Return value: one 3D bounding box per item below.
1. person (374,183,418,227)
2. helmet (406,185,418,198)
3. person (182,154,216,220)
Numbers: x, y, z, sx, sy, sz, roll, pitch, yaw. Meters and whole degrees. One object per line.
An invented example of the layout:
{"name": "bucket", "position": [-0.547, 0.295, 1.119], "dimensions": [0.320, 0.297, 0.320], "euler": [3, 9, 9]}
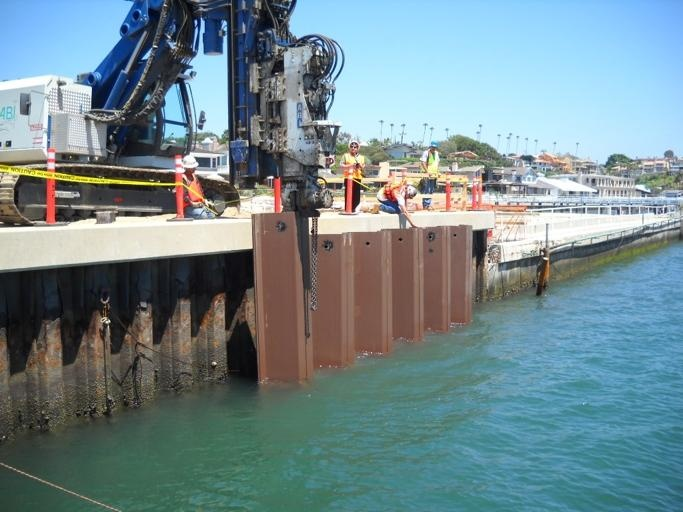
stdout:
{"name": "person", "position": [1.437, -1.352, 19.179], "dimensions": [0.824, 1.058, 1.731], "euler": [1, 7, -10]}
{"name": "helmet", "position": [1.806, -1.593, 19.230], "dimensions": [0.325, 0.340, 0.266], "euler": [18, 25, 42]}
{"name": "person", "position": [-3.151, -1.511, 16.458], "dimensions": [0.658, 1.332, 2.082], "euler": [0, 7, -12]}
